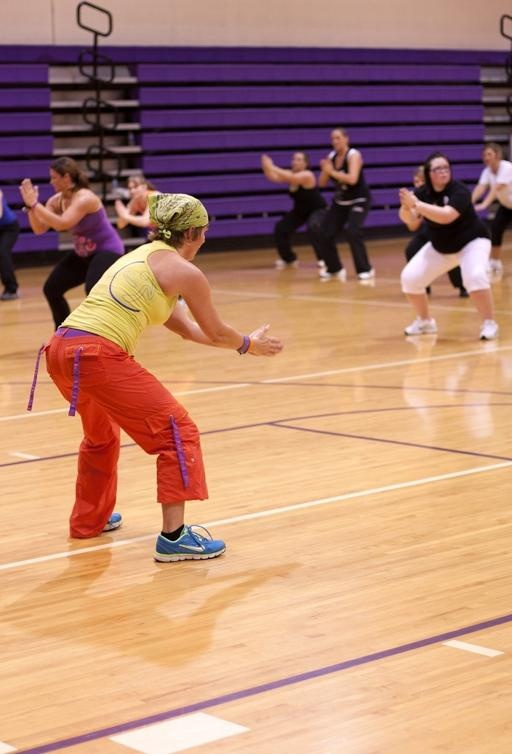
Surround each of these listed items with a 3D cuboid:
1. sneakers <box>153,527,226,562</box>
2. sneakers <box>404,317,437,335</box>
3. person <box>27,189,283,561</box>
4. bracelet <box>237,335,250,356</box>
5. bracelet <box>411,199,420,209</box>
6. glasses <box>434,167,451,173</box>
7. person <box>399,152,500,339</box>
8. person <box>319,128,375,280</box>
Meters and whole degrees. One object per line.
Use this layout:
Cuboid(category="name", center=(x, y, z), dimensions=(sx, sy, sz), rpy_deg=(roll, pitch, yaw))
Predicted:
Cuboid(category="sneakers", center=(-0.209, 0.531, 2.146), dimensions=(0.279, 0.104, 0.093), rpy_deg=(-2, 5, -11))
Cuboid(category="sneakers", center=(1.529, -0.461, 6.098), dimensions=(0.345, 0.138, 0.122), rpy_deg=(-4, 11, -9))
Cuboid(category="person", center=(-0.374, 0.002, 2.165), dimensions=(0.534, 1.189, 0.707), rpy_deg=(3, -10, -45))
Cuboid(category="bracelet", center=(-0.026, -0.101, 2.125), dimensions=(0.021, 0.052, 0.049), rpy_deg=(28, -39, -13))
Cuboid(category="bracelet", center=(1.260, -1.371, 5.219), dimensions=(0.053, 0.063, 0.031), rpy_deg=(-5, -2, -27))
Cuboid(category="glasses", center=(1.552, -1.728, 5.497), dimensions=(0.078, 0.021, 0.077), rpy_deg=(-8, 9, -32))
Cuboid(category="person", center=(1.610, -1.128, 5.661), dimensions=(1.029, 1.509, 0.911), rpy_deg=(-11, 12, -27))
Cuboid(category="person", center=(1.220, -2.352, 9.473), dimensions=(0.774, 2.241, 0.770), rpy_deg=(-7, -8, 25))
